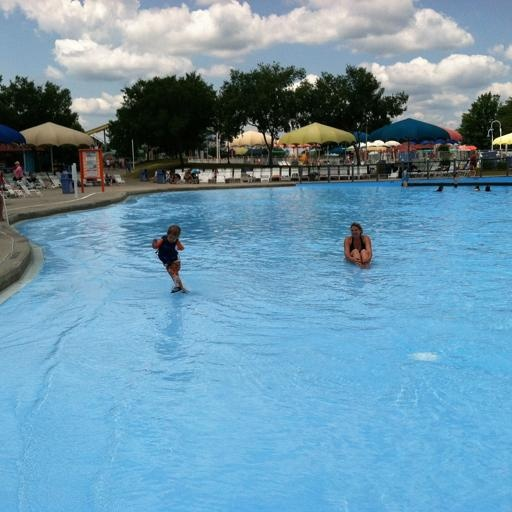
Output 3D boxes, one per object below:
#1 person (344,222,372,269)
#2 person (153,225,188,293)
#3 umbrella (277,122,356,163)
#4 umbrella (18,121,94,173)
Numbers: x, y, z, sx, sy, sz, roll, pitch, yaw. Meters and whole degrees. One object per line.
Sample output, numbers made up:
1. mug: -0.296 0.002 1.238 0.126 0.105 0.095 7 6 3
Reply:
1. person: 1.979 -0.240 10.159 0.514 0.874 0.886 1 10 11
2. person: -1.395 0.014 8.347 0.472 1.130 1.507 -2 10 -9
3. umbrella: 4.390 -9.021 38.707 4.527 1.638 3.467 -5 11 -25
4. umbrella: -12.433 -6.899 32.517 3.716 2.225 3.504 5 9 26
